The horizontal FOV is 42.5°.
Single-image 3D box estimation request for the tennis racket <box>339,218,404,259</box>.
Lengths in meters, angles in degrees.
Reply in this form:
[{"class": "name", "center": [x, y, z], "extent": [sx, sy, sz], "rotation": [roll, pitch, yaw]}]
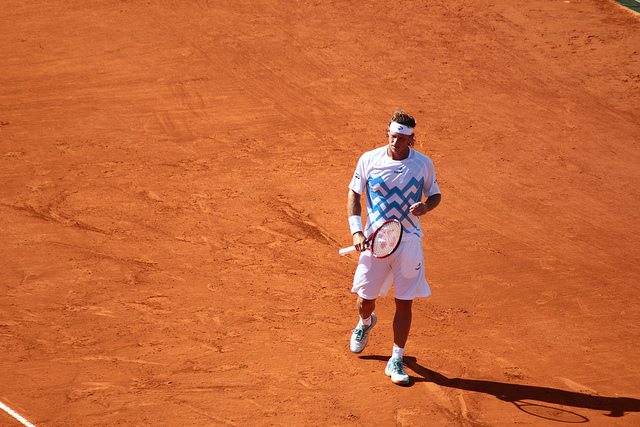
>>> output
[{"class": "tennis racket", "center": [1.112, 0.467, 14.645], "extent": [0.597, 0.812, 0.457], "rotation": [22, 38, 6]}]
